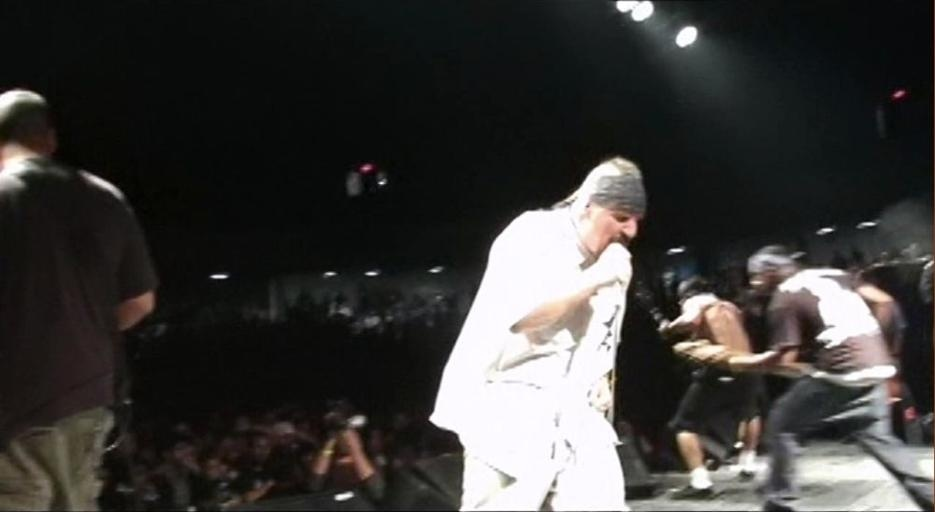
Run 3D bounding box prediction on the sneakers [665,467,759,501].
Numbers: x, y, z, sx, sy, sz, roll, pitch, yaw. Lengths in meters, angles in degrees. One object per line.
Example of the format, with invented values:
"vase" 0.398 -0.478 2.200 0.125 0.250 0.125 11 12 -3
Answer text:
"sneakers" 1.513 1.415 4.361 0.650 0.244 0.188 1 -10 -4
